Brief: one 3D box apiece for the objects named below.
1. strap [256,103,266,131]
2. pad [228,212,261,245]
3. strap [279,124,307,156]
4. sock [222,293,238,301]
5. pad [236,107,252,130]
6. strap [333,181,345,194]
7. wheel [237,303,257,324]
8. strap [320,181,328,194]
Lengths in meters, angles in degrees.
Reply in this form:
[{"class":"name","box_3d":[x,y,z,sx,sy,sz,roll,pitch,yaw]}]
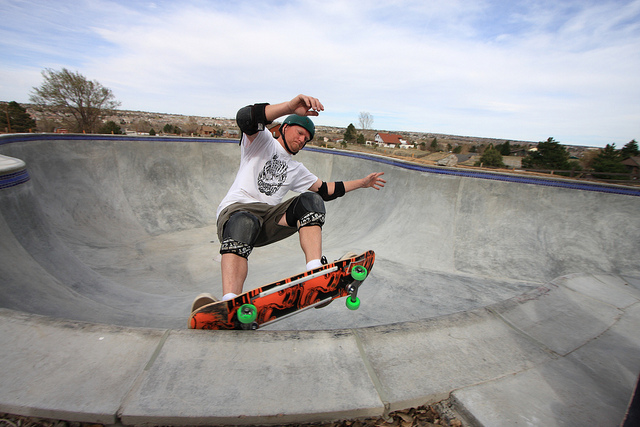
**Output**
[{"class":"strap","box_3d":[-0.677,-1.093,3.750,0.099,0.298,0.146,2,22,-11]},{"class":"pad","box_3d":[-0.851,0.158,3.843,0.398,0.325,0.345,9,10,-18]},{"class":"strap","box_3d":[-0.379,-0.936,4.245,0.279,0.332,0.088,20,15,14]},{"class":"sock","box_3d":[-0.912,0.850,3.360,0.144,0.056,0.049,-20,37,-15]},{"class":"pad","box_3d":[-0.879,-1.091,3.760,0.285,0.253,0.097,21,26,35]},{"class":"strap","box_3d":[0.265,-0.373,4.650,0.129,0.147,0.049,5,-1,9]},{"class":"wheel","box_3d":[-0.694,0.976,3.171,0.198,0.167,0.067,9,-21,-16]},{"class":"strap","box_3d":[0.053,-0.363,4.628,0.115,0.132,0.052,-7,-17,-7]}]
